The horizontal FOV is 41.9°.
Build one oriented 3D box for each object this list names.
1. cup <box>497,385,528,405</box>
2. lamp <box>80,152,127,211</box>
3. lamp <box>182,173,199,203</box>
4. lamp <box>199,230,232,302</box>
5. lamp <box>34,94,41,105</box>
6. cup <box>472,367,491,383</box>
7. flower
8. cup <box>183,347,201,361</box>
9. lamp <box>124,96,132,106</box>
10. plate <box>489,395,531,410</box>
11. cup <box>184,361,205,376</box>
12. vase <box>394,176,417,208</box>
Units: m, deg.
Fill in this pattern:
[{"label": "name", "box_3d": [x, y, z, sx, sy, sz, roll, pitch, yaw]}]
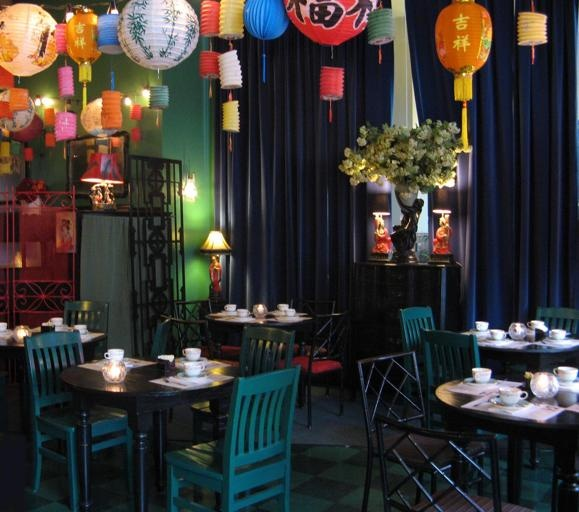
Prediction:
[{"label": "cup", "box_3d": [1.150, 0.724, 3.974, 0.110, 0.074, 0.094, 1, -6, -3]}, {"label": "lamp", "box_3d": [-1.935, -0.781, 7.892, 0.524, 0.814, 0.579, 0, 0, -10]}, {"label": "lamp", "box_3d": [-1.125, -0.778, 8.604, 0.064, 0.319, 0.330, -1, 2, 22]}, {"label": "lamp", "box_3d": [-0.814, 0.081, 8.471, 0.323, 0.749, 0.626, -2, 2, -4]}, {"label": "lamp", "box_3d": [-3.131, -1.954, 9.436, 0.066, 0.117, 0.034, -3, 6, -1]}, {"label": "cup", "box_3d": [1.090, 0.680, 4.319, 0.072, 0.066, 0.084, 0, -5, 3]}, {"label": "flower", "box_3d": [1.081, -0.911, 6.988, 0.859, 0.669, 0.689, 3, 4, 10]}, {"label": "cup", "box_3d": [-0.603, 0.605, 4.739, 0.099, 0.094, 0.121, -1, -6, 5]}, {"label": "lamp", "box_3d": [-1.820, -1.751, 8.540, 0.100, 0.140, 0.098, -9, 12, -42]}, {"label": "plate", "box_3d": [1.139, 0.757, 3.937, 0.210, 0.062, 0.206, -2, 2, 15]}, {"label": "cup", "box_3d": [-0.573, 0.671, 4.523, 0.073, 0.072, 0.100, -1, -8, 2]}, {"label": "vase", "box_3d": [1.044, -0.581, 6.878, 0.197, 0.273, 0.214, -3, -3, 27]}]
